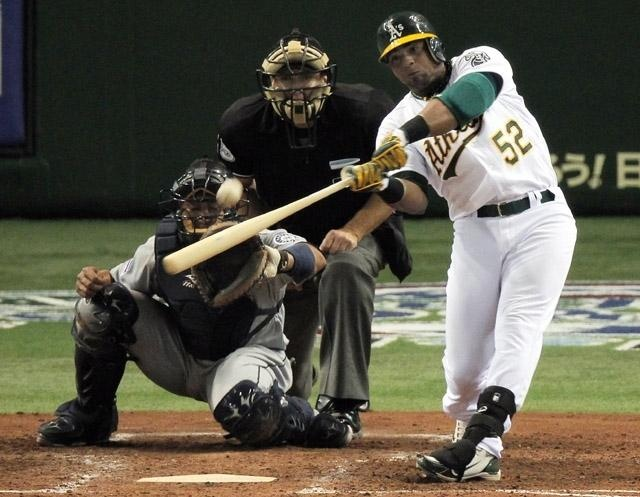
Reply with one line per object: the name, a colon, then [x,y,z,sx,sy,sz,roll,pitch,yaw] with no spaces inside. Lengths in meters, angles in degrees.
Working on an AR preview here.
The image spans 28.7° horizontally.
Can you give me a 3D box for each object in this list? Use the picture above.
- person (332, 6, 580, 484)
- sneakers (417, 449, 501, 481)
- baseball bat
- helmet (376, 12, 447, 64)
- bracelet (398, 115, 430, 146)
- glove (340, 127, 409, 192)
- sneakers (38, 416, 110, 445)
person: [1.040,-0.064,8.835,1.190,3.201,1.190,10,15,44]
sneakers: [0.982,1.492,8.605,0.637,0.233,0.206,5,-4,-9]
baseball bat: [-0.434,-0.156,9.159,1.856,0.172,0.191,-21,25,-21]
helmet: [0.635,-1.512,8.975,0.466,0.328,0.371,-16,-3,-39]
bracelet: [0.659,-0.816,8.632,0.200,0.178,0.184,-47,11,-5]
glove: [0.417,-0.597,8.696,0.570,0.214,0.289,-24,33,-5]
sneakers: [-1.788,1.345,9.124,0.451,0.163,0.232,4,-1,-8]
